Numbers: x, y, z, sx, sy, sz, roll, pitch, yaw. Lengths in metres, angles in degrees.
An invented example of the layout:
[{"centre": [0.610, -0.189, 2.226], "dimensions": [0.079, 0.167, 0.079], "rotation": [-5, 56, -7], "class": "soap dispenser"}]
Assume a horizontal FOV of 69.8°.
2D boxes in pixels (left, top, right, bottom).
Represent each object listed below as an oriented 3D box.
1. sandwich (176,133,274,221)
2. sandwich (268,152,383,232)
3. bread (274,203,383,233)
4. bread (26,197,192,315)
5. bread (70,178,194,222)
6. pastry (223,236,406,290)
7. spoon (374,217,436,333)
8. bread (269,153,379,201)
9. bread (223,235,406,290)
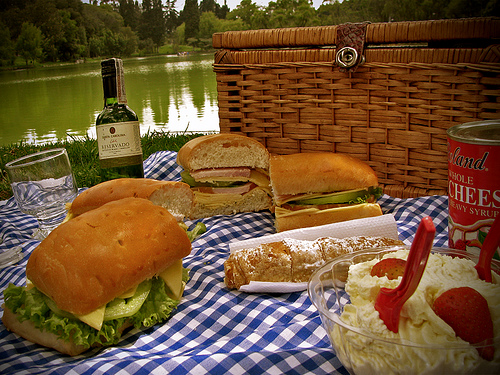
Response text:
[{"centre": [-0.183, -0.110, 2.574], "dimensions": [0.647, 0.576, 0.538], "rotation": [-6, 7, -29], "class": "sandwich"}, {"centre": [0.380, -0.007, 2.303], "dimensions": [0.789, 0.412, 0.566], "rotation": [-3, 6, -10], "class": "sandwich"}, {"centre": [0.415, 0.139, 2.233], "dimensions": [0.708, 0.158, 0.467], "rotation": [-2, 3, -12], "class": "bread"}, {"centre": [-0.521, 0.239, 1.338], "dimensions": [0.336, 0.275, 0.489], "rotation": [17, 27, 41], "class": "bread"}, {"centre": [-0.722, 0.082, 2.138], "dimensions": [0.701, 0.207, 0.370], "rotation": [-2, -2, 11], "class": "bread"}, {"centre": [0.298, 0.306, 1.609], "dimensions": [0.824, 0.171, 0.232], "rotation": [-5, 6, -9], "class": "pastry"}, {"centre": [0.355, 0.198, 0.815], "dimensions": [0.121, 0.261, 0.092], "rotation": [-3, 22, -2], "class": "spoon"}, {"centre": [0.437, -0.127, 2.245], "dimensions": [0.723, 0.222, 0.381], "rotation": [-5, 18, -14], "class": "bread"}, {"centre": [0.198, 0.237, 1.657], "dimensions": [0.765, 0.230, 0.584], "rotation": [-2, 3, -23], "class": "bread"}]
